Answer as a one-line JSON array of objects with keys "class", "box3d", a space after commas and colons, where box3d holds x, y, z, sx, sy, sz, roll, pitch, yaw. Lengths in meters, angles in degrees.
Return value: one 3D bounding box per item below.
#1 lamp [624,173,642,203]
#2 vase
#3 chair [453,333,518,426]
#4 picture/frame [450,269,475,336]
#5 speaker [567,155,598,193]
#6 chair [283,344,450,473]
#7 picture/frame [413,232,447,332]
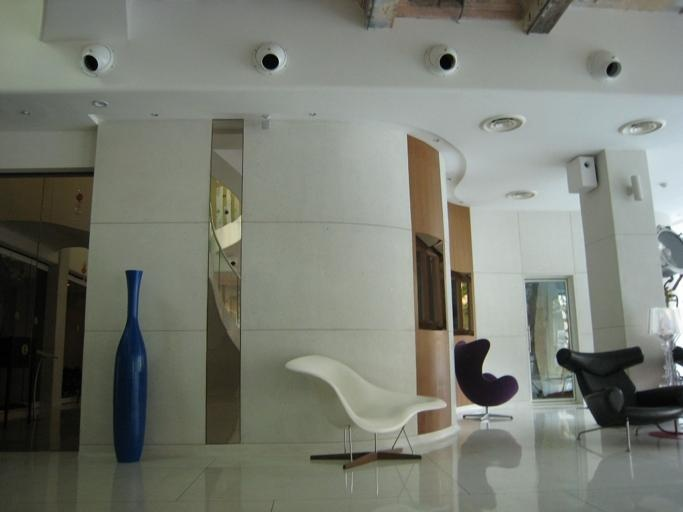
[{"class": "lamp", "box3d": [4.025, -0.948, 7.861, 0.197, 0.360, 0.146, -1, -5, 10]}, {"class": "vase", "box3d": [-2.305, 1.178, 6.260, 0.328, 2.066, 0.216, 2, -6, -22]}, {"class": "chair", "box3d": [2.218, 1.883, 8.817, 0.898, 1.219, 0.949, 0, -8, -7]}, {"class": "picture/frame", "box3d": [2.133, 0.824, 10.161, 0.228, 1.146, 0.616, -5, -7, 40]}, {"class": "speaker", "box3d": [3.475, -1.187, 8.271, 0.292, 0.480, 0.381, 0, -5, -8]}, {"class": "chair", "box3d": [0.214, 1.615, 6.209, 1.285, 0.962, 1.202, -2, -4, -3]}, {"class": "picture/frame", "box3d": [1.109, 0.351, 7.302, 0.095, 1.440, 1.144, -3, -3, 29]}]
